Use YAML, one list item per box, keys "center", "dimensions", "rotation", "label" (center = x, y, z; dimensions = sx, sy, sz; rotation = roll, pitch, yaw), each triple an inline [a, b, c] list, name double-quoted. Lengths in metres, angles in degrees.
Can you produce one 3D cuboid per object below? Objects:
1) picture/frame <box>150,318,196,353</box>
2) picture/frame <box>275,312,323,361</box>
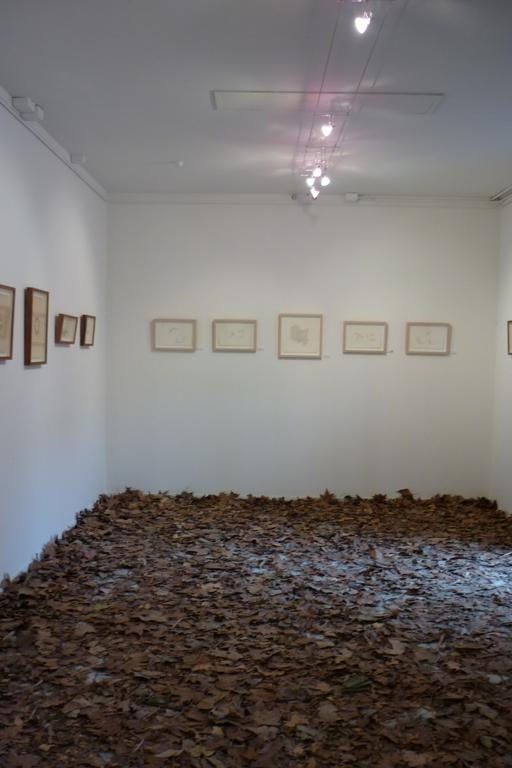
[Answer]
- center: [-0.919, -0.551, 6.123]
  dimensions: [0.388, 0.299, 0.042]
  rotation: [0, 6, -1]
  label: "picture/frame"
- center: [0.452, -0.525, 6.140]
  dimensions: [0.533, 0.522, 0.056]
  rotation: [1, 2, -1]
  label: "picture/frame"
